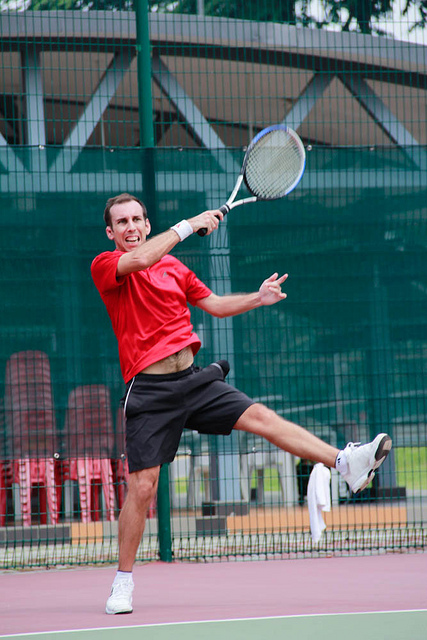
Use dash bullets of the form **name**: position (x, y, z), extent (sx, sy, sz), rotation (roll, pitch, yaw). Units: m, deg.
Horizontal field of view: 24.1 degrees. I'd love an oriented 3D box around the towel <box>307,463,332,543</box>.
- **towel**: position (0.473, 0.832, 4.564), extent (0.119, 0.347, 0.125), rotation (1, -1, -3)
